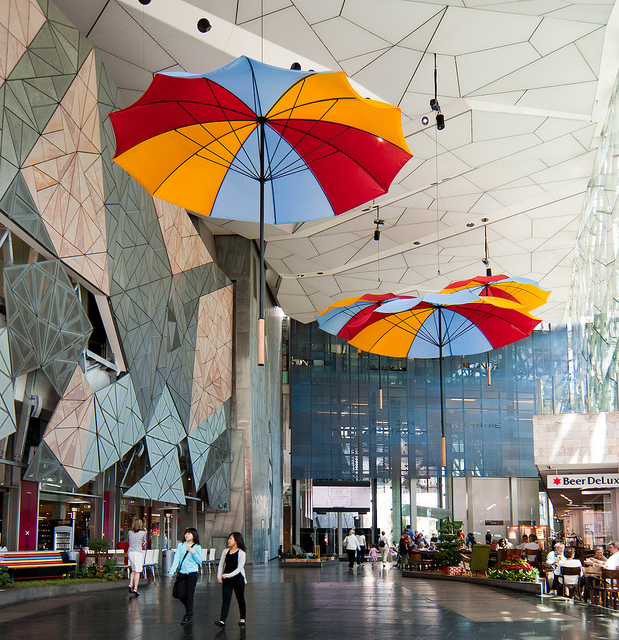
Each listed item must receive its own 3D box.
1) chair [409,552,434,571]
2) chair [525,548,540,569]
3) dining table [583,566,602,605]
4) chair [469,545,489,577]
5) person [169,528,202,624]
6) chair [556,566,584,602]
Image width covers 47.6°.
[{"bbox_3d":[3.816,8.318,24.203,0.780,0.542,2.645,-3,-15,6],"label":"chair"},{"bbox_3d":[6.820,7.266,21.511,0.688,0.557,0.266,8,-15,-34],"label":"chair"},{"bbox_3d":[6.074,5.635,15.064,0.339,0.649,2.055,-5,-15,20],"label":"dining table"},{"bbox_3d":[4.814,6.807,19.865,0.515,0.839,0.953,-3,-13,7],"label":"chair"},{"bbox_3d":[-1.829,3.763,10.329,0.426,1.354,1.211,1,-13,-11],"label":"person"},{"bbox_3d":[5.634,5.693,15.282,0.502,0.729,1.210,-5,-15,17],"label":"chair"}]
